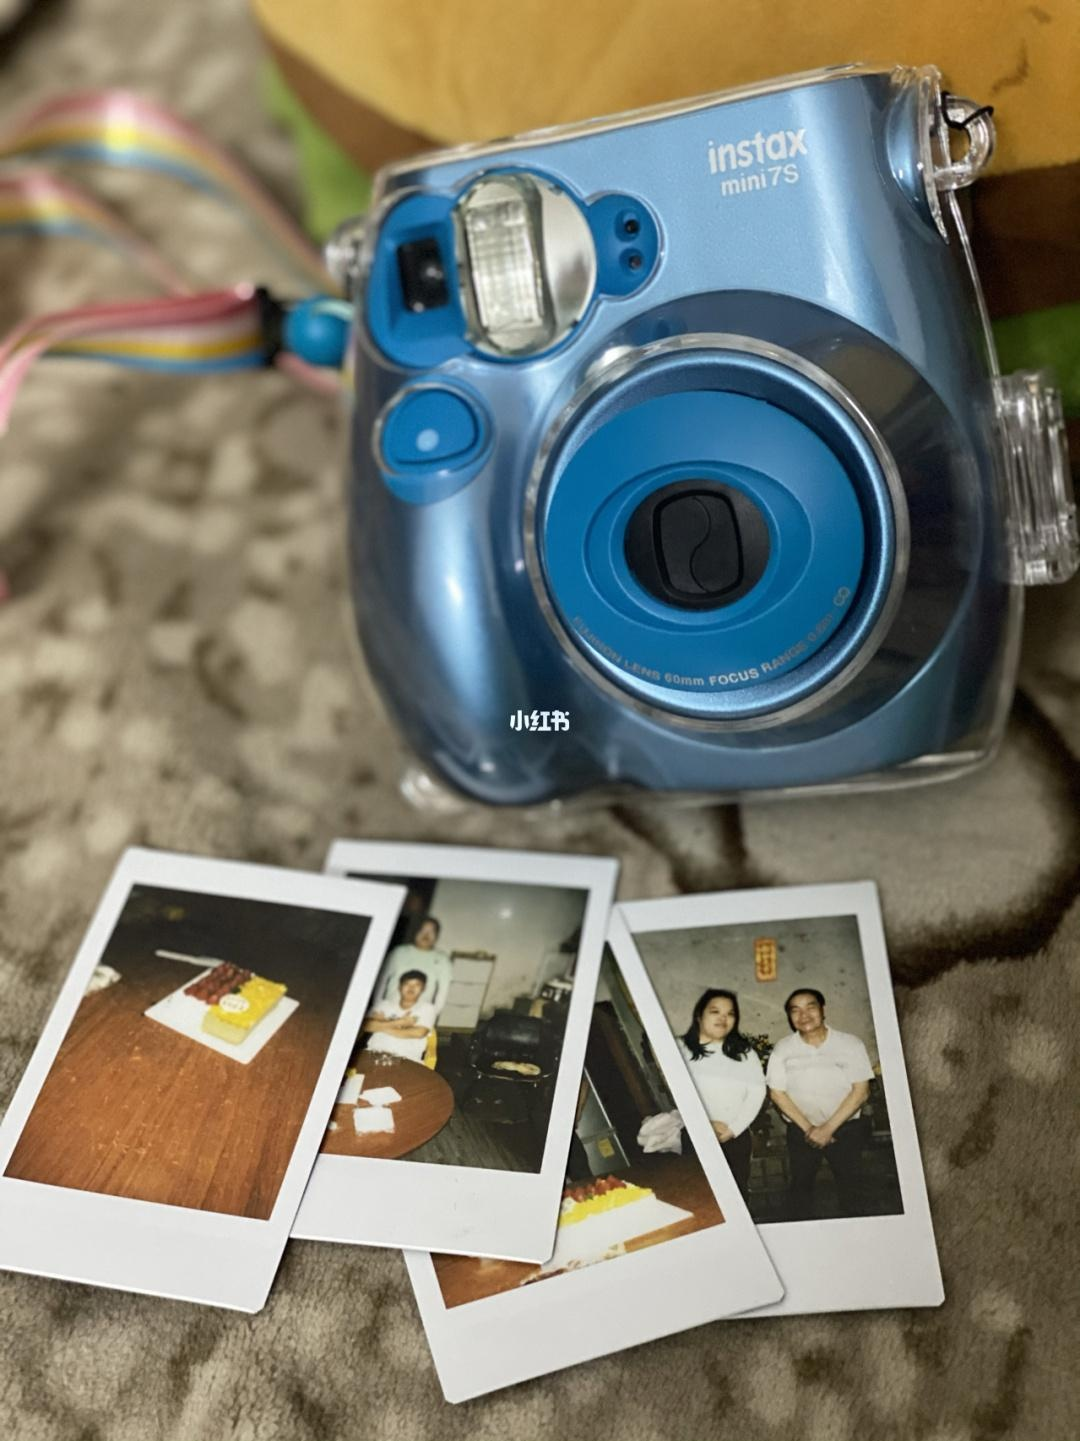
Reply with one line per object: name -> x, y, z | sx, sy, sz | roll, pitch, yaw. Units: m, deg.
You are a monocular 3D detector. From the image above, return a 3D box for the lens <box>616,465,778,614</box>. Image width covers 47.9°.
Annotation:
lens -> 0.061, -0.065, 0.453 | 0.047, 0.034, 0.035 | 8, 63, 13

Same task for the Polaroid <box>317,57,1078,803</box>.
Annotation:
Polaroid -> 0.062, -0.105, 0.499 | 0.292, 0.205, 0.218 | -4, 61, 6
